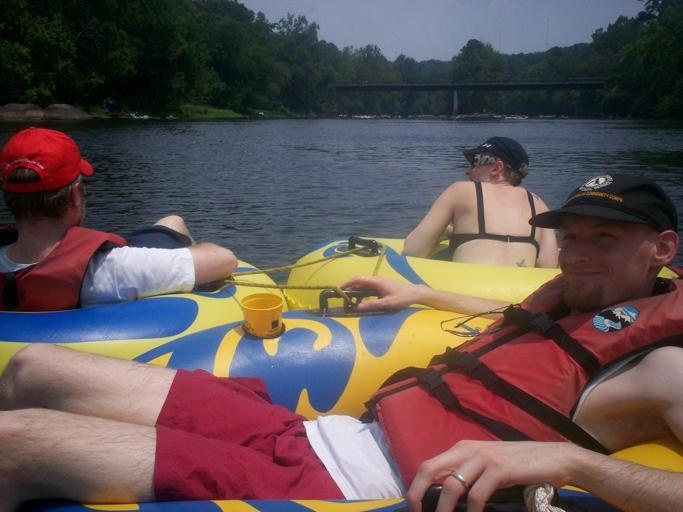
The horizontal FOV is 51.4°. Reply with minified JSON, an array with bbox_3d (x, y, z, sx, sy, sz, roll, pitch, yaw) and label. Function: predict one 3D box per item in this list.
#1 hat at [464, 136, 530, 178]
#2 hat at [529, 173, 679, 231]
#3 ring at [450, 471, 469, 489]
[{"bbox_3d":[0.988,-0.678,4.652,0.427,0.181,0.280,16,8,15],"label":"hat"},{"bbox_3d":[0.976,-0.181,2.618,0.395,0.151,0.268,14,1,1],"label":"hat"},{"bbox_3d":[0.376,0.708,2.263,0.052,0.054,0.014,40,80,26],"label":"ring"}]
